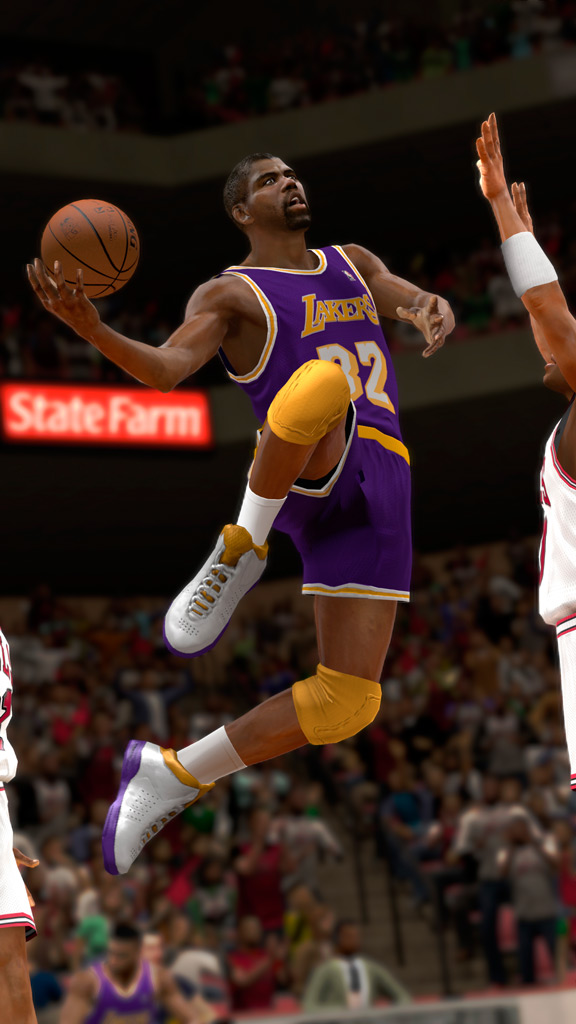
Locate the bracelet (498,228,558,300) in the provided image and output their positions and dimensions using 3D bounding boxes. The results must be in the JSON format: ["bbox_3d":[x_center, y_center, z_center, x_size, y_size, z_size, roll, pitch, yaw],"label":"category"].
[{"bbox_3d":[0.706,-0.707,2.660,0.144,0.081,0.245,-23,45,5],"label":"bracelet"}]

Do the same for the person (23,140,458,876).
[{"bbox_3d":[-0.005,-0.005,2.731,0.874,2.040,1.401,6,23,28],"label":"person"}]
